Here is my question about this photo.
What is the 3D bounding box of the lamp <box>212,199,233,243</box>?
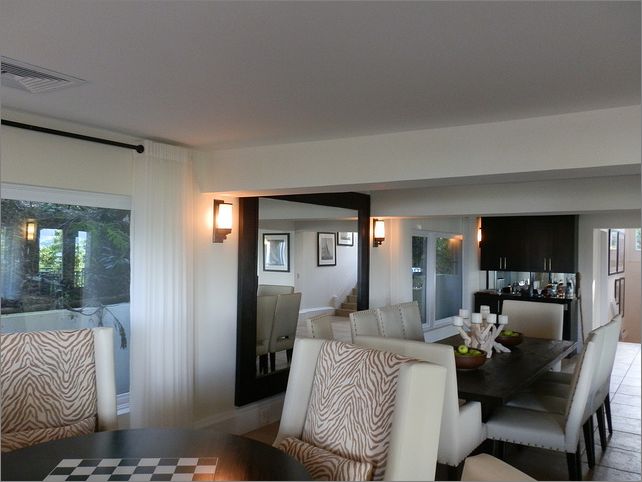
[{"bbox_3d":[-0.987,-0.194,4.517,0.169,0.427,0.137,0,-2,1],"label":"lamp"}]

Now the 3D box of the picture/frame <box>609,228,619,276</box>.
[{"bbox_3d":[5.963,0.214,9.242,0.035,0.948,0.855,0,-4,41],"label":"picture/frame"}]

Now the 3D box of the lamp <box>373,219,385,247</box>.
[{"bbox_3d":[0.810,-0.125,6.439,0.140,0.367,0.163,0,-2,2],"label":"lamp"}]

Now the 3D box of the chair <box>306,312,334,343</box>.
[{"bbox_3d":[-0.015,0.742,3.945,0.208,0.311,0.202,-1,0,41],"label":"chair"}]

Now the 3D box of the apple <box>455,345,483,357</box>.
[{"bbox_3d":[1.225,0.926,3.797,0.132,0.063,0.140,0,-9,5],"label":"apple"}]

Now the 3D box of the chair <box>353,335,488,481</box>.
[{"bbox_3d":[0.638,1.102,3.722,0.963,1.387,0.882,0,-1,-42],"label":"chair"}]

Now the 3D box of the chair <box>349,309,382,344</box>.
[{"bbox_3d":[0.420,0.844,4.462,0.257,0.396,0.270,4,-9,-40],"label":"chair"}]

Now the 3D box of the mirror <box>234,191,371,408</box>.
[{"bbox_3d":[-0.248,0.516,4.723,0.108,2.734,2.244,4,6,39],"label":"mirror"}]

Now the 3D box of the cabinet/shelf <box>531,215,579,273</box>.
[{"bbox_3d":[3.887,0.041,7.484,0.626,0.950,0.218,-2,-2,29],"label":"cabinet/shelf"}]

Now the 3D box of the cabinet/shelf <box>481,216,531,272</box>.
[{"bbox_3d":[3.290,0.042,7.990,0.877,1.090,0.387,-2,-1,35],"label":"cabinet/shelf"}]

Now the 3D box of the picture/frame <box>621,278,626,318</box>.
[{"bbox_3d":[7.027,1.318,10.533,0.070,0.909,1.116,-2,-3,35],"label":"picture/frame"}]

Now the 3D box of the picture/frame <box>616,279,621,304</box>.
[{"bbox_3d":[6.404,1.099,9.773,0.023,0.583,0.526,0,-1,38],"label":"picture/frame"}]

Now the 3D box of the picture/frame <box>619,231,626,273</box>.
[{"bbox_3d":[6.764,0.238,10.189,0.039,1.037,0.840,0,-4,40],"label":"picture/frame"}]

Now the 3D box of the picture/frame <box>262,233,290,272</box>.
[{"bbox_3d":[-0.526,0.134,5.107,0.014,0.406,0.384,-9,-14,33],"label":"picture/frame"}]
